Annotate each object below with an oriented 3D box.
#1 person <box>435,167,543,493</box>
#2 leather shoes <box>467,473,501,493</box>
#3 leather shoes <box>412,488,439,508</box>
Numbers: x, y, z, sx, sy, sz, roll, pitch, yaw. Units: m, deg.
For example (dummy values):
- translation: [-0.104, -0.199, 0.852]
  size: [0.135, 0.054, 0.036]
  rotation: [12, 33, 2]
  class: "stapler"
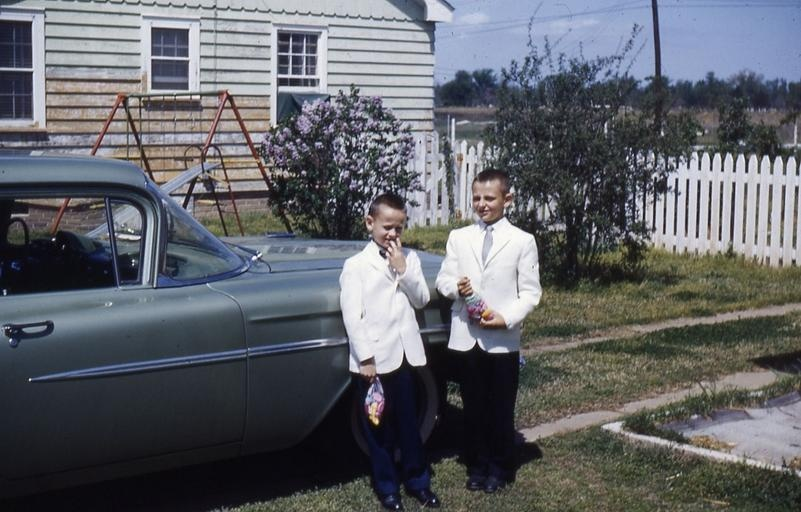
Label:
- translation: [0.672, 0.530, 6.476]
  size: [0.806, 2.580, 0.992]
  rotation: [0, 0, -2]
  class: "person"
- translation: [0.652, 1.794, 6.163]
  size: [0.177, 0.067, 0.132]
  rotation: [3, 12, 7]
  class: "leather shoes"
- translation: [0.192, 1.844, 6.013]
  size: [0.209, 0.103, 0.095]
  rotation: [2, 5, 37]
  class: "leather shoes"
